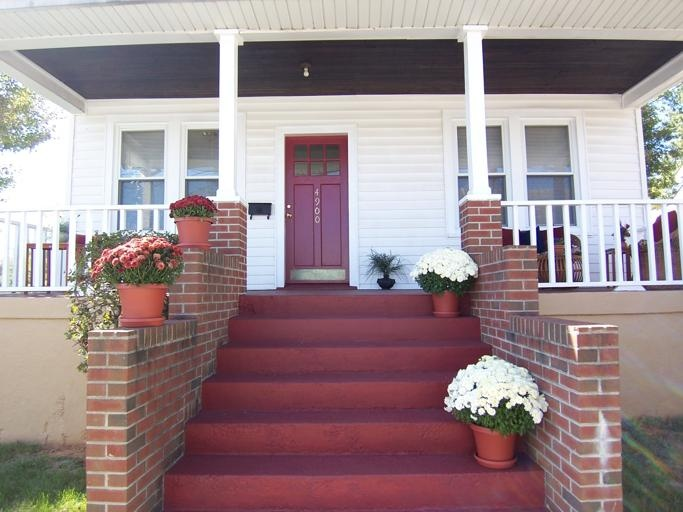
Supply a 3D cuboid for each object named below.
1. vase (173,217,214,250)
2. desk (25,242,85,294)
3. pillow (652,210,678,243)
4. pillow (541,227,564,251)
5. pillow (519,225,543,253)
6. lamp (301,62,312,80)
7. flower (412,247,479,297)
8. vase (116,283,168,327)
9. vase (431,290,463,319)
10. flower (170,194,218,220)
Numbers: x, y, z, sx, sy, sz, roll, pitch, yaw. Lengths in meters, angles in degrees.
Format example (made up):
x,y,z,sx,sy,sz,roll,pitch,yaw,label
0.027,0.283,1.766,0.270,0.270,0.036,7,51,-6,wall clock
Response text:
x,y,z,sx,sy,sz,roll,pitch,yaw,label
-1.529,-0.238,5.899,0.343,0.239,0.336,-1,-5,15,vase
-3.794,0.052,7.586,0.712,0.611,1.893,-2,1,-25,desk
4.161,-0.388,7.319,0.250,0.430,0.918,-2,1,28,pillow
2.716,-0.219,7.340,0.342,0.223,0.180,-1,-3,-4,pillow
2.372,-0.210,7.082,0.117,0.376,0.338,-4,6,-45,pillow
-0.462,-2.528,7.701,0.116,0.110,0.127,-3,44,-1,lamp
1.123,0.164,6.130,0.555,0.357,0.536,1,-1,-1,flower
-1.689,0.414,4.861,0.378,0.295,0.365,0,-5,-4,vase
1.155,0.520,6.158,0.295,0.221,0.285,1,-8,-1,vase
-1.532,-0.486,5.937,0.323,0.187,0.303,-1,2,-35,flower
